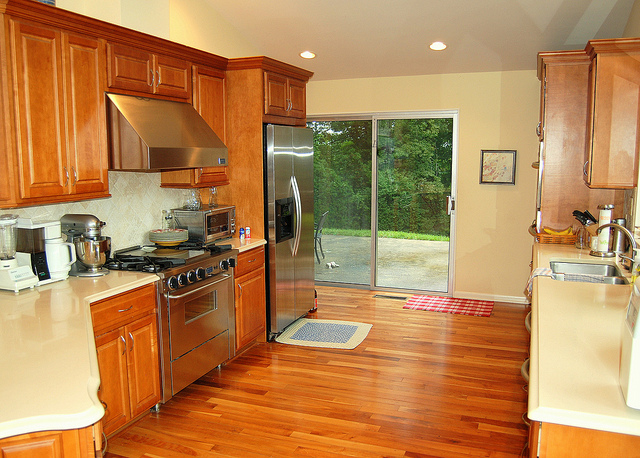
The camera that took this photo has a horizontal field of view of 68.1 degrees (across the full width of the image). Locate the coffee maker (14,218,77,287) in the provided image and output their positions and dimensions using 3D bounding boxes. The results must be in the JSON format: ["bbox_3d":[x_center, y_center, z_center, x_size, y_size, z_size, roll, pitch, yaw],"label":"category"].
[{"bbox_3d":[-1.937,0.158,3.322,0.482,0.453,0.322,2,5,21],"label":"coffee maker"}]

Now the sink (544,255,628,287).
[{"bbox_3d":[2.153,0.387,3.890,0.234,0.277,0.444,12,-4,-43],"label":"sink"}]

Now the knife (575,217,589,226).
[{"bbox_3d":[2.407,-0.086,4.357,0.092,0.021,0.092,27,-5,34],"label":"knife"}]

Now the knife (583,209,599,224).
[{"bbox_3d":[2.522,-0.113,4.389,0.046,0.155,0.040,-35,24,17],"label":"knife"}]

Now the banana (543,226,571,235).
[{"bbox_3d":[2.324,0.006,4.707,0.315,0.107,0.055,-2,8,33],"label":"banana"}]

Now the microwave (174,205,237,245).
[{"bbox_3d":[-1.102,-0.051,4.649,0.387,0.302,0.564,2,9,20],"label":"microwave"}]

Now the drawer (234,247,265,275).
[{"bbox_3d":[-0.690,0.284,4.573,0.212,0.132,0.312,2,8,26],"label":"drawer"}]

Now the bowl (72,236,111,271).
[{"bbox_3d":[-1.739,0.197,3.589,0.305,0.231,0.267,5,6,33],"label":"bowl"}]

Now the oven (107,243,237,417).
[{"bbox_3d":[-1.304,0.726,4.110,0.870,1.088,1.048,1,8,14],"label":"oven"}]

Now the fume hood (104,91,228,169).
[{"bbox_3d":[-1.244,-0.809,3.995,0.427,0.530,1.072,10,14,19],"label":"fume hood"}]

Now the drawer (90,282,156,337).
[{"bbox_3d":[-1.372,0.548,3.304,0.283,0.195,0.431,0,9,23],"label":"drawer"}]
